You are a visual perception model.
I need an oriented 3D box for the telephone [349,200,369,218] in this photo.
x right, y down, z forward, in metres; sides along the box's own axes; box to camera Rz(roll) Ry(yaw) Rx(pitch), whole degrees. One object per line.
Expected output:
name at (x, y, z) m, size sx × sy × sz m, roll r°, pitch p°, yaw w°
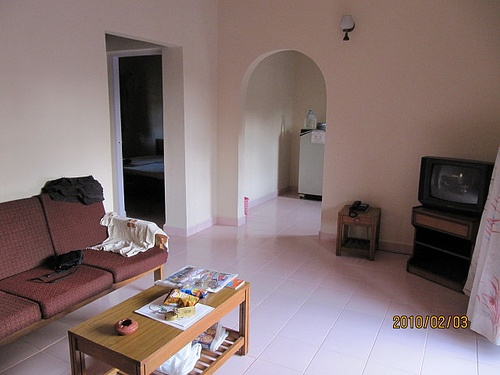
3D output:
telephone at (1.341, 0.254, 4.438) m, size 0.171 × 0.083 × 0.250 m, roll 3°, pitch 21°, yaw 24°

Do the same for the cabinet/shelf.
cabinet/shelf at (2.071, 0.670, 3.786) m, size 0.412 × 0.817 × 0.650 m, roll -16°, pitch 23°, yaw -38°

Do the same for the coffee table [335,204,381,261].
coffee table at (1.406, 0.528, 4.600) m, size 0.513 × 0.645 × 0.529 m, roll 6°, pitch 15°, yaw 21°

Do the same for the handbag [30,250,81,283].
handbag at (-1.547, 0.647, 2.939) m, size 0.172 × 0.085 × 0.236 m, roll 12°, pitch 21°, yaw 38°

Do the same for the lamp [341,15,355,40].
lamp at (1.218, -2.009, 4.467) m, size 0.155 × 0.290 × 0.153 m, roll 7°, pitch 16°, yaw 25°
